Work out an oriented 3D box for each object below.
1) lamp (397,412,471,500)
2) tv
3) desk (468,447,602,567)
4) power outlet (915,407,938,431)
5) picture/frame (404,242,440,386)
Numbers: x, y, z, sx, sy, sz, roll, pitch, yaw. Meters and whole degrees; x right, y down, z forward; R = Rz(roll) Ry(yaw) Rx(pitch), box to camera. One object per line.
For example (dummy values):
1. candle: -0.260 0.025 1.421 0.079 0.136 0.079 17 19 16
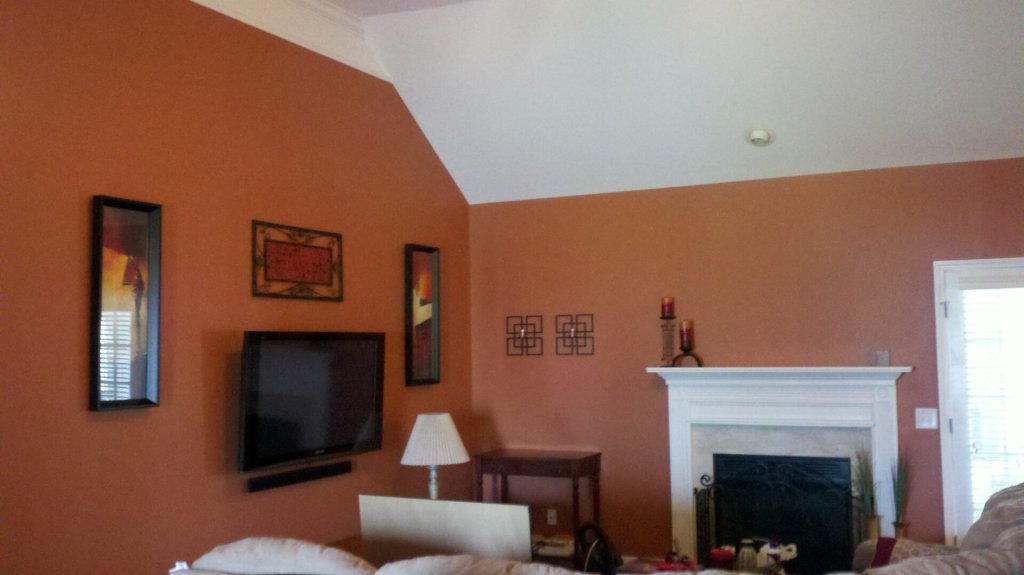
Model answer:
1. lamp: -0.700 1.595 7.034 0.622 0.819 0.533 -1 -8 5
2. tv: -1.729 0.942 6.498 0.135 0.966 1.364 3 3 41
3. desk: 0.177 2.175 7.641 1.419 1.227 0.896 -6 -15 23
4. power outlet: 3.695 1.175 6.924 0.225 0.210 0.022 -1 -10 26
5. picture/frame: -0.891 0.269 7.563 0.085 1.352 0.486 -4 -7 36
